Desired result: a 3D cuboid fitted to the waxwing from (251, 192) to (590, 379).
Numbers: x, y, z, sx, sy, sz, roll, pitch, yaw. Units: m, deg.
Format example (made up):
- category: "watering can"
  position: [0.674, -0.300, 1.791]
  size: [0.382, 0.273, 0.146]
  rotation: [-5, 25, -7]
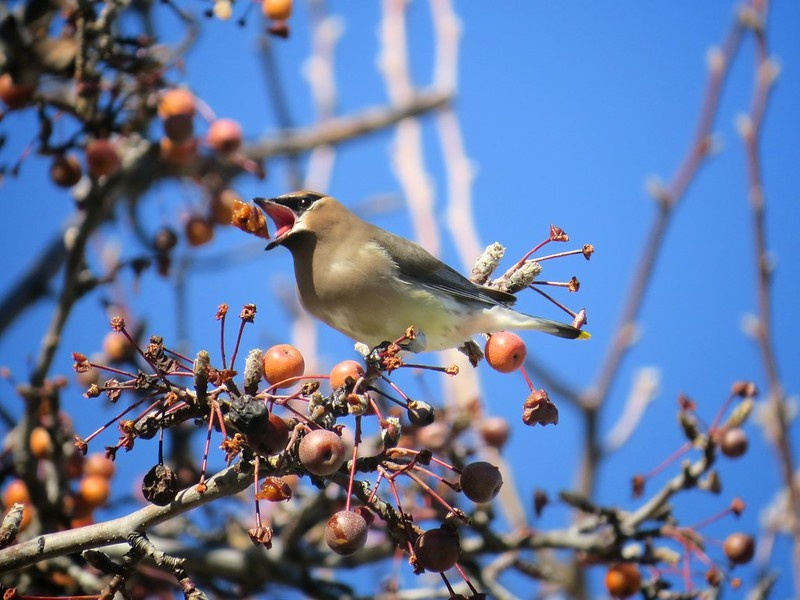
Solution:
- category: "waxwing"
  position: [0.089, -0.045, 4.803]
  size: [1.207, 0.787, 0.449]
  rotation: [1, -27, -11]
